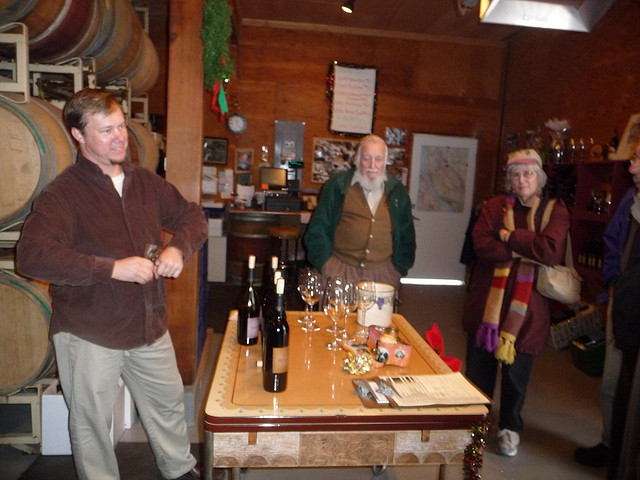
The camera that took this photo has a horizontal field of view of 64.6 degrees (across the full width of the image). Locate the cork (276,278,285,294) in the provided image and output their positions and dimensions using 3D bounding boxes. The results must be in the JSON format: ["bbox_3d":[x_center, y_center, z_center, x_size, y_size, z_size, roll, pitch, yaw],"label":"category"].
[{"bbox_3d":[-0.181,0.206,2.304,0.031,0.064,0.044,0,12,-11],"label":"cork"}]

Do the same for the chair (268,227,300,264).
[{"bbox_3d":[-0.430,0.040,6.227,0.370,0.459,0.387,1,10,-3],"label":"chair"}]

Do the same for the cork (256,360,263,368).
[{"bbox_3d":[-0.295,0.608,2.500,0.027,0.025,0.021,3,-23,-1],"label":"cork"}]

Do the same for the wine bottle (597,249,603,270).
[{"bbox_3d":[2.696,0.185,4.885,0.035,0.190,0.118,7,12,22],"label":"wine bottle"}]

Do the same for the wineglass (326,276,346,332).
[{"bbox_3d":[0.091,0.352,2.770,0.099,0.349,0.235,3,12,2],"label":"wineglass"}]

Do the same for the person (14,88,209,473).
[{"bbox_3d":[-1.052,0.351,2.700,0.912,2.221,0.547,-3,12,-26],"label":"person"}]

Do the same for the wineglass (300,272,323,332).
[{"bbox_3d":[-0.048,0.326,2.847,0.125,0.357,0.301,3,12,0],"label":"wineglass"}]

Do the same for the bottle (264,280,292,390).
[{"bbox_3d":[-0.190,0.429,2.327,0.114,0.493,0.179,1,11,-5],"label":"bottle"}]

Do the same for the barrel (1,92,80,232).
[{"bbox_3d":[-1.654,-0.464,3.000,0.387,0.760,0.428,-1,12,-18],"label":"barrel"}]

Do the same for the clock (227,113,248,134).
[{"bbox_3d":[-1.143,-1.628,7.038,0.259,0.274,0.084,4,11,3],"label":"clock"}]
